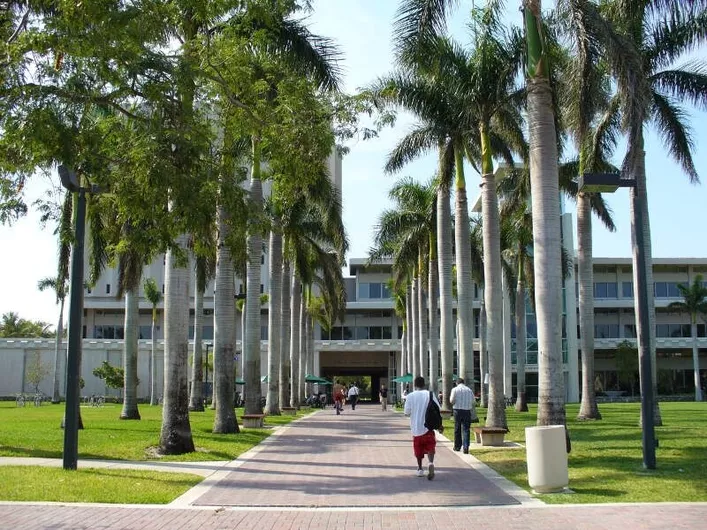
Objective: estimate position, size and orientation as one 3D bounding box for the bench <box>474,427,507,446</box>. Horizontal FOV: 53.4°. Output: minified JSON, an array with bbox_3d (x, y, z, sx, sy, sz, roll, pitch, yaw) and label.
[{"bbox_3d":[4.118,5.198,21.180,0.819,0.558,1.064,-2,-12,3],"label":"bench"}]

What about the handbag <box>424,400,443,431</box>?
[{"bbox_3d":[1.848,3.414,16.137,0.288,0.766,0.474,-10,-14,43],"label":"handbag"}]

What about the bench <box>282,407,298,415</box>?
[{"bbox_3d":[-3.528,8.029,38.637,0.702,0.429,0.731,4,-13,-22],"label":"bench"}]

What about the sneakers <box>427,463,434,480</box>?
[{"bbox_3d":[1.680,4.547,15.387,0.126,0.398,0.151,0,2,1],"label":"sneakers"}]
